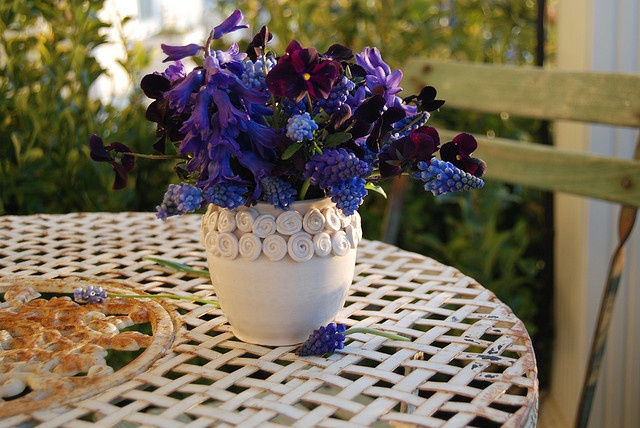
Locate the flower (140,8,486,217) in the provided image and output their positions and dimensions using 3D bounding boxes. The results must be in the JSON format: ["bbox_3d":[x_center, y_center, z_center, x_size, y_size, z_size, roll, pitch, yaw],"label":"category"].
[{"bbox_3d":[-0.053,-0.228,1.700,0.521,0.326,0.441,0,11,19],"label":"flower"}]

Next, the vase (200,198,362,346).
[{"bbox_3d":[-0.080,0.127,1.755,0.295,0.321,0.323,-4,7,-11],"label":"vase"}]
